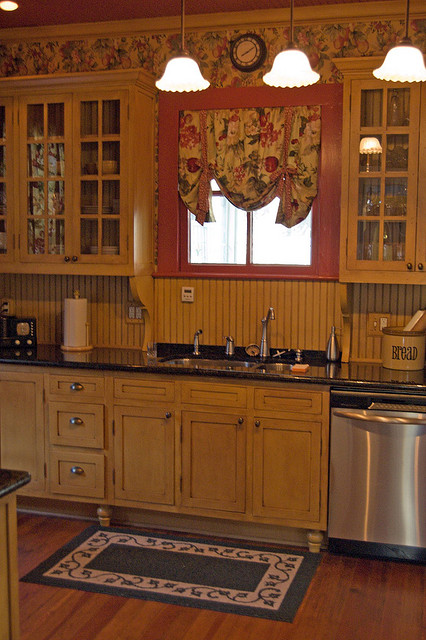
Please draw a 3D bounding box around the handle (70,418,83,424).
[{"bbox_3d":[-0.714,0.529,2.943,0.072,0.031,0.012,1,0,22],"label":"handle"}]

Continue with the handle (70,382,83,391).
[{"bbox_3d":[-0.710,0.348,2.927,0.043,0.047,0.012,-2,-13,5],"label":"handle"}]

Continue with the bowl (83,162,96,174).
[{"bbox_3d":[-0.693,-0.854,3.167,0.061,0.051,0.056,0,5,0],"label":"bowl"}]

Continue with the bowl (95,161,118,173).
[{"bbox_3d":[-0.572,-0.849,3.125,0.064,0.045,0.066,0,4,0],"label":"bowl"}]

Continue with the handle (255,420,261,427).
[{"bbox_3d":[0.206,0.490,2.660,0.018,0.021,0.022,1,0,9],"label":"handle"}]

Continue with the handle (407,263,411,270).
[{"bbox_3d":[0.927,-0.257,2.685,0.018,0.019,0.005,-4,-3,39],"label":"handle"}]

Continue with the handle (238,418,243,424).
[{"bbox_3d":[0.129,0.480,2.687,0.012,0.018,0.015,-5,-20,-12],"label":"handle"}]

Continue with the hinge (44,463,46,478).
[{"bbox_3d":[-0.898,0.808,3.021,0.012,0.073,0.005,1,1,23],"label":"hinge"}]

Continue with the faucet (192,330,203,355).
[{"bbox_3d":[-0.097,0.131,3.291,0.053,0.143,0.140,1,0,-4],"label":"faucet"}]

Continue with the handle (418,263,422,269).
[{"bbox_3d":[0.974,-0.255,2.671,0.004,0.019,0.018,1,2,-37],"label":"handle"}]

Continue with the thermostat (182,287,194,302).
[{"bbox_3d":[-0.149,-0.154,3.357,0.081,0.117,0.014,0,2,13],"label":"thermostat"}]

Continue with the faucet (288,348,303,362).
[{"bbox_3d":[0.469,0.196,3.116,0.037,0.070,0.131,10,-6,11],"label":"faucet"}]

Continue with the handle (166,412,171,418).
[{"bbox_3d":[-0.224,0.473,2.793,0.017,0.024,0.018,4,-14,1],"label":"handle"}]

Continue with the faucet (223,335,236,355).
[{"bbox_3d":[0.092,0.149,3.209,0.083,0.141,0.066,-1,3,-21],"label":"faucet"}]

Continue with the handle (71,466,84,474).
[{"bbox_3d":[-0.711,0.788,2.946,0.037,0.040,0.013,-1,-27,3],"label":"handle"}]

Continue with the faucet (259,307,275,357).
[{"bbox_3d":[0.297,0.069,3.154,0.080,0.279,0.163,1,0,7],"label":"faucet"}]

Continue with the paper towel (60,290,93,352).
[{"bbox_3d":[-0.813,0.035,3.374,0.179,0.312,0.140,1,0,-16],"label":"paper towel"}]

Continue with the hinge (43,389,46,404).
[{"bbox_3d":[-0.895,0.408,2.999,0.013,0.074,0.008,0,1,-36],"label":"hinge"}]

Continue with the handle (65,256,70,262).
[{"bbox_3d":[-0.833,-0.349,3.230,0.022,0.029,0.023,-1,-1,0],"label":"handle"}]
